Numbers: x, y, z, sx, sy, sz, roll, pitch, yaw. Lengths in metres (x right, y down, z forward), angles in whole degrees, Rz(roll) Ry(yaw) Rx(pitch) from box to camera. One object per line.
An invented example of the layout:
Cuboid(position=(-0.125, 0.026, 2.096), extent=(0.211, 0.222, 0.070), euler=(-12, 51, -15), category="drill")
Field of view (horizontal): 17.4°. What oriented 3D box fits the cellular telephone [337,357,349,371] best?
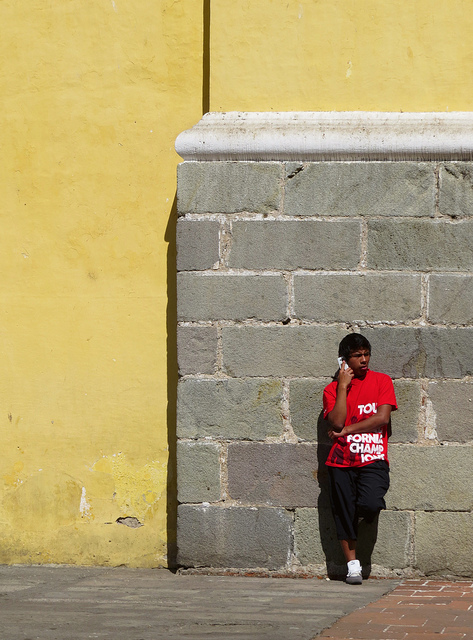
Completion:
Cuboid(position=(0.584, 0.243, 8.765), extent=(0.048, 0.123, 0.009), euler=(-1, 35, 10), category="cellular telephone")
